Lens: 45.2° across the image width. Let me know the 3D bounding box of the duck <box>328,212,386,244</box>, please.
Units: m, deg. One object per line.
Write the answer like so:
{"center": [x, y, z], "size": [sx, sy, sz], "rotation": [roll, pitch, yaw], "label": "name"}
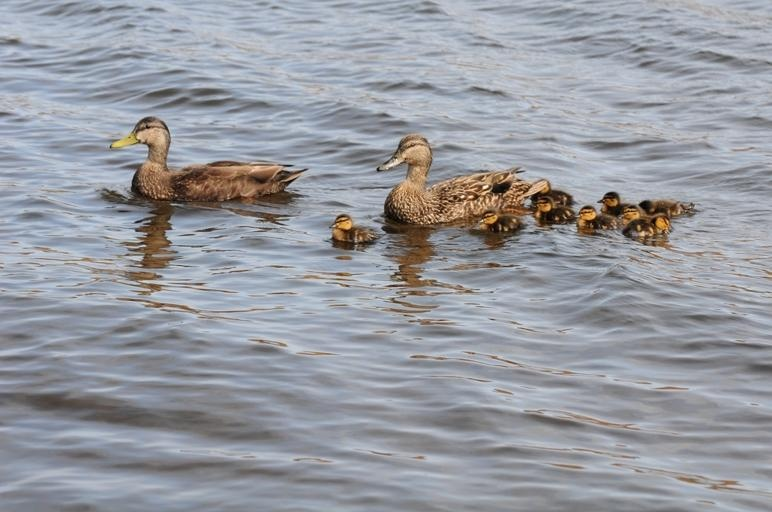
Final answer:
{"center": [-0.448, -0.423, 15.237], "size": [0.810, 0.579, 0.535], "rotation": [9, 45, -1], "label": "duck"}
